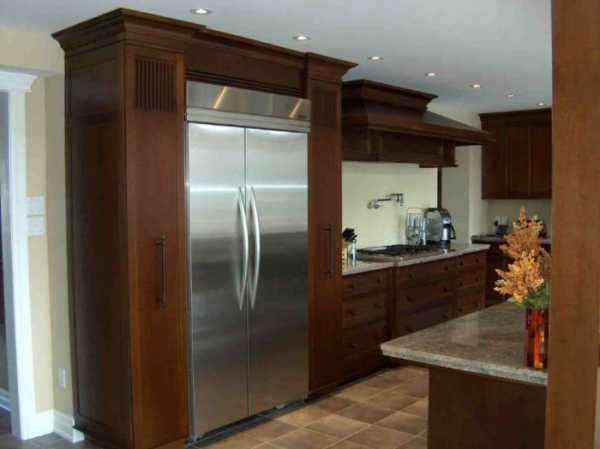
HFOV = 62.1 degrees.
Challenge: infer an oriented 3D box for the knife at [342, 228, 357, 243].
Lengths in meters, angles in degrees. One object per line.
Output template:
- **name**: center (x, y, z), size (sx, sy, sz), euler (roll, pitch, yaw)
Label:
- **knife**: center (0.481, 0.108, 4.969), size (0.145, 0.150, 0.044), euler (4, 1, -3)

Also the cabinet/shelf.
- **cabinet/shelf**: center (-0.106, 0.014, 3.675), size (0.516, 1.778, 3.047), euler (0, 3, 42)
